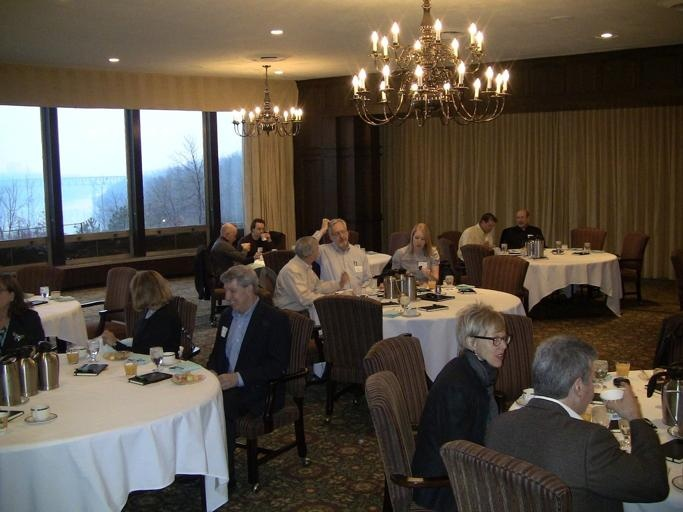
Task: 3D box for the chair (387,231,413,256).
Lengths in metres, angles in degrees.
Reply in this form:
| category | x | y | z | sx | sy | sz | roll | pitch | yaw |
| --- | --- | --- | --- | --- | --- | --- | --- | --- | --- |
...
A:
| category | x | y | z | sx | sy | sz | roll | pitch | yaw |
| --- | --- | --- | --- | --- | --- | --- | --- | --- | --- |
| chair | 0.961 | -0.222 | 9.141 | 0.332 | 0.510 | 0.409 | 3 | 10 | 23 |

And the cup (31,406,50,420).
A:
| category | x | y | z | sx | sy | sz | roll | pitch | yaw |
| --- | --- | --- | --- | --- | --- | --- | --- | --- | --- |
| cup | -1.491 | 0.778 | 2.646 | 0.065 | 0.059 | 0.074 | -2 | -7 | 6 |

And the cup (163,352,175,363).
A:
| category | x | y | z | sx | sy | sz | roll | pitch | yaw |
| --- | --- | --- | --- | --- | --- | --- | --- | --- | --- |
| cup | -1.109 | 0.659 | 3.438 | 0.060 | 0.048 | 0.067 | -1 | -4 | 10 |

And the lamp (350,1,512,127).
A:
| category | x | y | z | sx | sy | sz | roll | pitch | yaw |
| --- | --- | --- | --- | --- | --- | --- | --- | --- | --- |
| lamp | 1.071 | -2.351 | 6.381 | 1.726 | 1.944 | 1.787 | 0 | 11 | 7 |

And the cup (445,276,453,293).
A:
| category | x | y | z | sx | sy | sz | roll | pitch | yaw |
| --- | --- | --- | --- | --- | --- | --- | --- | --- | --- |
| cup | 1.129 | 0.295 | 5.615 | 0.126 | 0.134 | 0.134 | 0 | -2 | 0 |

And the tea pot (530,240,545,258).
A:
| category | x | y | z | sx | sy | sz | roll | pitch | yaw |
| --- | --- | --- | --- | --- | --- | --- | --- | --- | --- |
| tea pot | 2.785 | -0.091 | 7.697 | 0.188 | 0.260 | 0.242 | -1 | 1 | 0 |

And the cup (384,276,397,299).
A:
| category | x | y | z | sx | sy | sz | roll | pitch | yaw |
| --- | --- | --- | --- | --- | --- | --- | --- | --- | --- |
| cup | 0.470 | 0.312 | 5.274 | 0.171 | 0.305 | 0.184 | -1 | 6 | 0 |

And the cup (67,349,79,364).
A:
| category | x | y | z | sx | sy | sz | roll | pitch | yaw |
| --- | --- | --- | --- | --- | --- | --- | --- | --- | --- |
| cup | -1.759 | 0.665 | 3.506 | 0.079 | 0.092 | 0.084 | 0 | -3 | 0 |

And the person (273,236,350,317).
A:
| category | x | y | z | sx | sy | sz | roll | pitch | yaw |
| --- | --- | --- | --- | --- | --- | --- | --- | --- | --- |
| person | -0.277 | 0.198 | 5.429 | 0.761 | 1.230 | 0.609 | -5 | 20 | -11 |

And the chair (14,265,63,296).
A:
| category | x | y | z | sx | sy | sz | roll | pitch | yaw |
| --- | --- | --- | --- | --- | --- | --- | --- | --- | --- |
| chair | -3.548 | 0.292 | 6.272 | 0.411 | 0.539 | 0.366 | -3 | 5 | -34 |

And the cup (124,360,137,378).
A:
| category | x | y | z | sx | sy | sz | roll | pitch | yaw |
| --- | --- | --- | --- | --- | --- | --- | --- | --- | --- |
| cup | -1.310 | 0.707 | 3.307 | 0.071 | 0.072 | 0.083 | 0 | -4 | 0 |

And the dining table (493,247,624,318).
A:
| category | x | y | z | sx | sy | sz | roll | pitch | yaw |
| --- | --- | --- | --- | --- | --- | --- | --- | --- | --- |
| dining table | 3.207 | 0.254 | 7.441 | 1.047 | 0.548 | 1.129 | 0 | 4 | 36 |

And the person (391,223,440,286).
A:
| category | x | y | z | sx | sy | sz | roll | pitch | yaw |
| --- | --- | --- | --- | --- | --- | --- | --- | --- | --- |
| person | 0.843 | -0.017 | 6.199 | 0.531 | 0.667 | 0.762 | -2 | 7 | 8 |

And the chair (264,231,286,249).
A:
| category | x | y | z | sx | sy | sz | roll | pitch | yaw |
| --- | --- | --- | --- | --- | --- | --- | --- | --- | --- |
| chair | -1.125 | -0.270 | 9.056 | 0.244 | 0.373 | 0.299 | 0 | -4 | -6 |

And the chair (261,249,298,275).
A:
| category | x | y | z | sx | sy | sz | roll | pitch | yaw |
| --- | --- | --- | --- | --- | --- | --- | --- | --- | --- |
| chair | -0.840 | 0.056 | 7.018 | 0.325 | 0.499 | 0.315 | -3 | 4 | -34 |

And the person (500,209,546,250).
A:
| category | x | y | z | sx | sy | sz | roll | pitch | yaw |
| --- | --- | --- | --- | --- | --- | --- | --- | --- | --- |
| person | 3.069 | -0.419 | 9.137 | 0.779 | 0.743 | 0.445 | -1 | 6 | 1 |

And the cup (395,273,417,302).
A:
| category | x | y | z | sx | sy | sz | roll | pitch | yaw |
| --- | --- | --- | --- | --- | --- | --- | --- | --- | --- |
| cup | 0.551 | 0.287 | 5.032 | 0.139 | 0.281 | 0.251 | 0 | -3 | -38 |
